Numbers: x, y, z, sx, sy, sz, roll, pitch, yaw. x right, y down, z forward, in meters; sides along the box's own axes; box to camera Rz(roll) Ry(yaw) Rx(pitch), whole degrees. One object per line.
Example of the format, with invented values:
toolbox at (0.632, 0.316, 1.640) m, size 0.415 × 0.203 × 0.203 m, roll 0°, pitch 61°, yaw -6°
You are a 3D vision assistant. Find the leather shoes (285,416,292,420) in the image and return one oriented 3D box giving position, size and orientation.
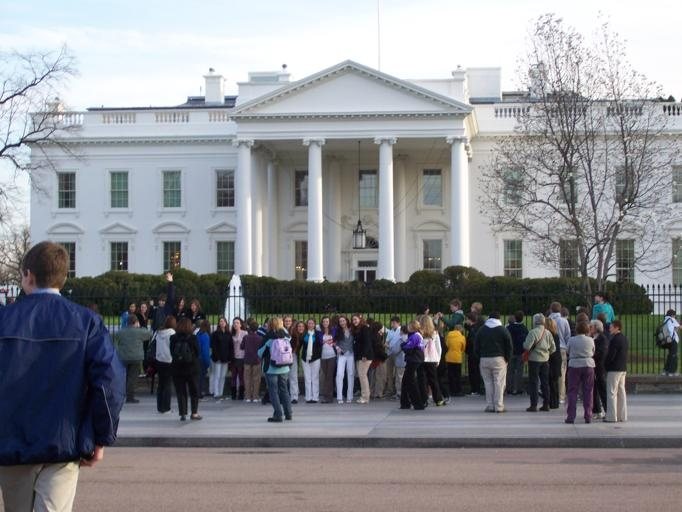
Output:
leather shoes at (-1.376, 4.224, 39.061) m, size 0.110 × 0.088 × 0.114 m, roll 1°, pitch -6°, yaw -6°

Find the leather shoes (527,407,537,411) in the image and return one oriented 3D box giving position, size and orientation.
leather shoes at (5.173, 4.062, 40.038) m, size 0.303 × 0.143 × 0.200 m, roll -3°, pitch -5°, yaw 24°

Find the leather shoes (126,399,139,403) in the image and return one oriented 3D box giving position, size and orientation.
leather shoes at (-5.901, 4.059, 41.973) m, size 0.330 × 0.153 × 0.113 m, roll -2°, pitch 7°, yaw -16°

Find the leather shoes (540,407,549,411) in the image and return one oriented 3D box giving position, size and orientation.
leather shoes at (5.523, 4.056, 40.061) m, size 0.251 × 0.127 × 0.229 m, roll -1°, pitch -5°, yaw 8°

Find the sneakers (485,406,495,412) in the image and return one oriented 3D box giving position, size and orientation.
sneakers at (4.029, 4.069, 39.930) m, size 0.180 × 0.177 × 0.299 m, roll 2°, pitch -6°, yaw -31°

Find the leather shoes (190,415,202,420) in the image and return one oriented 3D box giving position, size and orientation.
leather shoes at (-3.814, 4.212, 39.445) m, size 0.215 × 0.143 × 0.401 m, roll -2°, pitch -5°, yaw 20°

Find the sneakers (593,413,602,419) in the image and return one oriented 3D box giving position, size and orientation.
sneakers at (6.755, 4.149, 38.940) m, size 0.248 × 0.151 × 0.538 m, roll -1°, pitch -5°, yaw 7°

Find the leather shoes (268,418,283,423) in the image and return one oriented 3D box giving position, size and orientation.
leather shoes at (-1.743, 4.244, 38.854) m, size 0.300 × 0.126 × 0.156 m, roll 6°, pitch 3°, yaw 41°

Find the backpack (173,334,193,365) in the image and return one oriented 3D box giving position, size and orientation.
backpack at (-4.204, 2.434, 39.275) m, size 0.523 × 0.785 × 0.494 m, roll 0°, pitch -5°, yaw -9°

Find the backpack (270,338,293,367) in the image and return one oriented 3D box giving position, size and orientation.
backpack at (-1.553, 2.435, 38.728) m, size 0.556 × 0.732 × 0.293 m, roll 0°, pitch -5°, yaw -11°

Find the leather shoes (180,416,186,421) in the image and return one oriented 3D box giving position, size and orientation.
leather shoes at (-4.182, 4.246, 39.285) m, size 0.157 × 0.113 × 0.088 m, roll 1°, pitch 4°, yaw 2°
